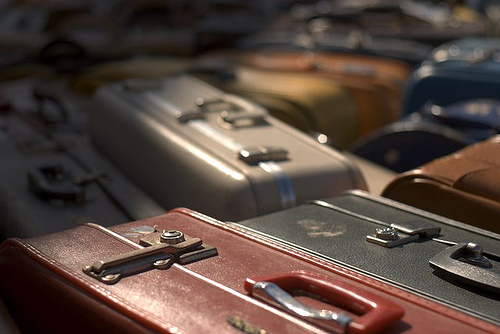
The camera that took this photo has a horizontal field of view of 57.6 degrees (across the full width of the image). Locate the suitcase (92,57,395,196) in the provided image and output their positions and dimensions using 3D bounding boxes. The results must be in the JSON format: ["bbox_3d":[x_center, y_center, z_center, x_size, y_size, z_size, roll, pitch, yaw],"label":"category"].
[{"bbox_3d":[-0.024,-0.113,1.293,0.552,0.520,0.171,15,64,28],"label":"suitcase"}]

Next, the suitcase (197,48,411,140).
[{"bbox_3d":[0.190,-0.261,1.559,0.490,0.446,0.148,5,57,25],"label":"suitcase"}]
